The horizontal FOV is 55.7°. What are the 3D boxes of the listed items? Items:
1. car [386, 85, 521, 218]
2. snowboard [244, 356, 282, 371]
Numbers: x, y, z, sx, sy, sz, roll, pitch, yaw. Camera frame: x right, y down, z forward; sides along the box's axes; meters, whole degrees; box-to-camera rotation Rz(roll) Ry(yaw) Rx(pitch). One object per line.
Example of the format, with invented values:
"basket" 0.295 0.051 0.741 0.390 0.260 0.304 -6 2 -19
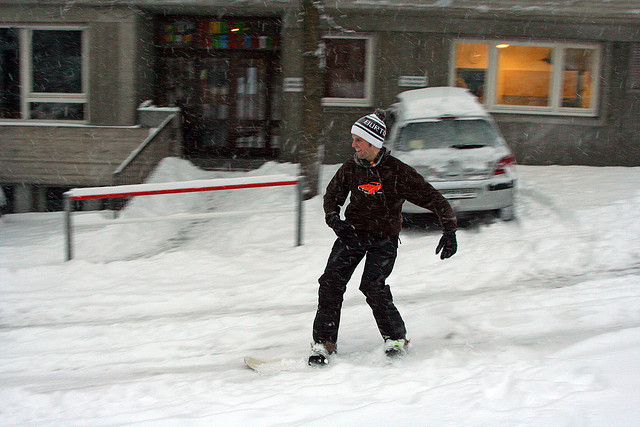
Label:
"car" 2.358 -1.185 11.074 2.410 1.284 2.891 -3 33 3
"snowboard" -0.739 1.806 7.384 0.429 0.127 0.350 1 5 17
